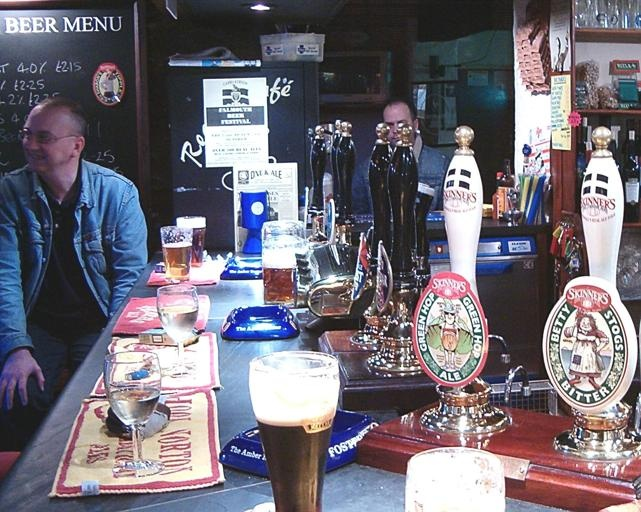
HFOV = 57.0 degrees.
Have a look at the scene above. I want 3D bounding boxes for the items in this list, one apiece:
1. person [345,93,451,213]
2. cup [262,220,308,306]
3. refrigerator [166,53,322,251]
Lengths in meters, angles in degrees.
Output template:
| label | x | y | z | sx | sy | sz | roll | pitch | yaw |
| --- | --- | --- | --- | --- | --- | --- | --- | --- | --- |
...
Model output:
| label | x | y | z | sx | sy | sz | roll | pitch | yaw |
| --- | --- | --- | --- | --- | --- | --- | --- | --- | --- |
| person | 0.528 | -0.752 | 4.412 | 0.710 | 0.882 | 1.255 | -2 | 10 | 20 |
| cup | -0.123 | 0.015 | 1.983 | 0.161 | 0.287 | 0.170 | 3 | 16 | -1 |
| refrigerator | -0.438 | -0.657 | 3.564 | 0.952 | 1.640 | 1.062 | 0 | 1 | 1 |
